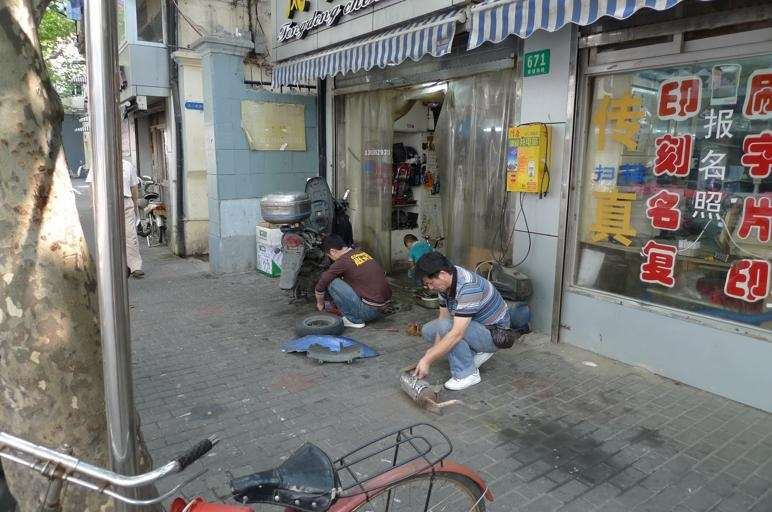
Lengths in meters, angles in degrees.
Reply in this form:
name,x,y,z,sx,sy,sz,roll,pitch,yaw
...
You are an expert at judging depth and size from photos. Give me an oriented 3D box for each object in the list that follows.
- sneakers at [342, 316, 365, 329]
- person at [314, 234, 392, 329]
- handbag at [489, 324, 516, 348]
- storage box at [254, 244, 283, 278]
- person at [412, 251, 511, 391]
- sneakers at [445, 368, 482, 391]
name,x,y,z,sx,sy,sz,roll,pitch,yaw
sneakers,-0.426,0.862,6.407,0.304,0.130,0.122,9,12,29
person,-0.426,0.417,6.360,0.911,0.968,0.294,1,15,11
handbag,1.153,0.803,4.942,0.243,0.096,0.189,5,38,2
storage box,-1.996,-0.065,8.713,0.439,0.729,0.556,-10,17,-36
person,0.703,0.598,4.920,1.113,1.362,0.566,-8,16,-24
sneakers,0.753,1.238,4.978,0.402,0.174,0.148,-4,7,-24
